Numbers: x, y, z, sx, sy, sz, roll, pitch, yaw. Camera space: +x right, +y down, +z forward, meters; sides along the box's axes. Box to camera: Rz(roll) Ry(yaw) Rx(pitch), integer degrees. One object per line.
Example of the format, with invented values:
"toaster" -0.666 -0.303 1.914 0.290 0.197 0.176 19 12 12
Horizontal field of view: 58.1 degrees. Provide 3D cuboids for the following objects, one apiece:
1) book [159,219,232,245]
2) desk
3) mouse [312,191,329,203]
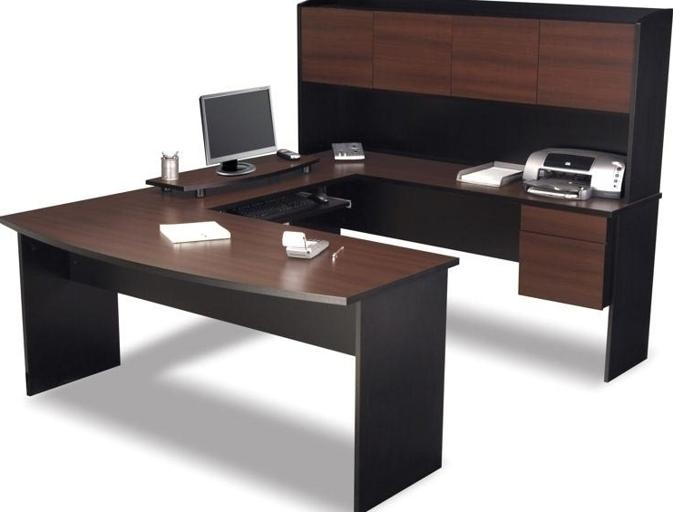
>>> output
"book" -0.781 -0.140 3.316 0.344 0.047 0.373 -8 20 -21
"desk" -0.294 0.402 3.620 2.737 0.971 2.503 11 18 39
"mouse" -0.115 -0.416 4.293 0.076 0.038 0.125 -16 23 -35
